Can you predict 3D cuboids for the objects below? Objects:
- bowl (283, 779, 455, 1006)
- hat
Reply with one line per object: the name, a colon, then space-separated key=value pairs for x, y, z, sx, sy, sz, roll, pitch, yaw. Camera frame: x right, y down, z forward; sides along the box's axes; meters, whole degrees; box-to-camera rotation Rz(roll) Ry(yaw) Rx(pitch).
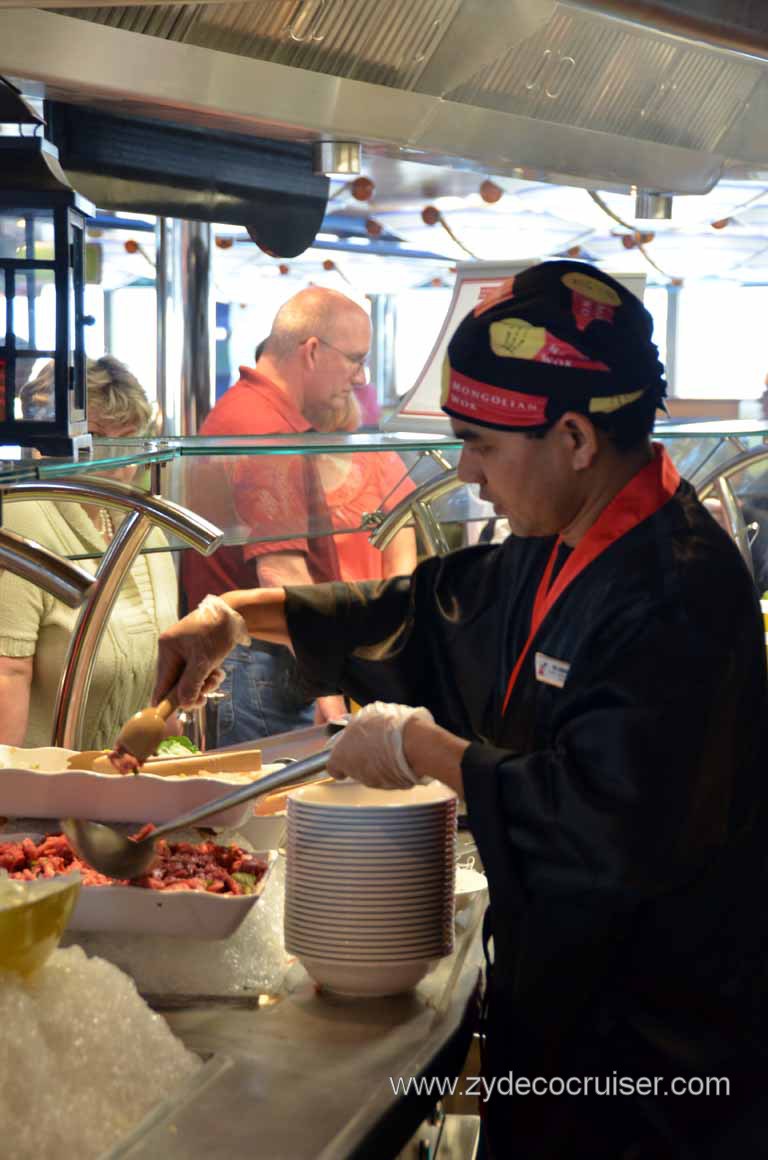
bowl: x=-0.011 y=0.316 z=0.979 sx=0.200 sy=0.204 sz=0.195 roll=0 pitch=-6 yaw=0
hat: x=0.205 y=-0.296 z=1.171 sx=0.291 sy=0.193 sz=0.274 roll=-4 pitch=17 yaw=-13
